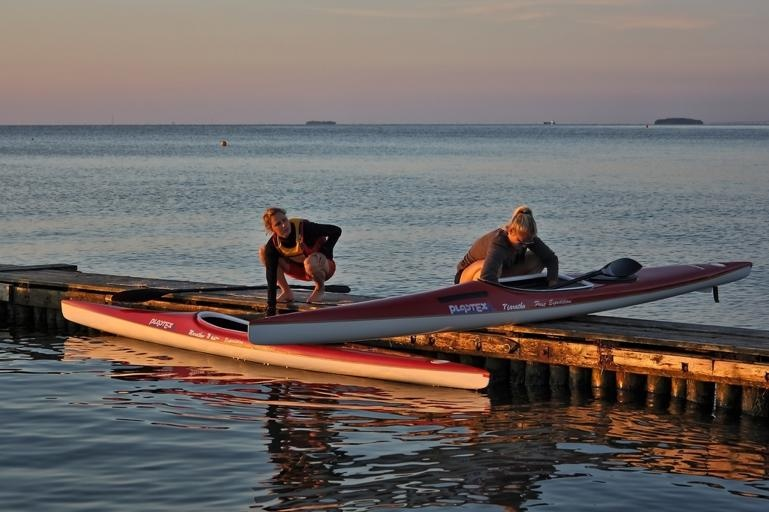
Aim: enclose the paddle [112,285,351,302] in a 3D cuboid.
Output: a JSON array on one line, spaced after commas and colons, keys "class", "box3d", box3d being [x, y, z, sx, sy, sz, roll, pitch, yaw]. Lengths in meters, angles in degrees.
[{"class": "paddle", "box3d": [-2.400, 0.589, 19.082, 3.550, 0.207, 0.180, -1, 45, -6]}]
